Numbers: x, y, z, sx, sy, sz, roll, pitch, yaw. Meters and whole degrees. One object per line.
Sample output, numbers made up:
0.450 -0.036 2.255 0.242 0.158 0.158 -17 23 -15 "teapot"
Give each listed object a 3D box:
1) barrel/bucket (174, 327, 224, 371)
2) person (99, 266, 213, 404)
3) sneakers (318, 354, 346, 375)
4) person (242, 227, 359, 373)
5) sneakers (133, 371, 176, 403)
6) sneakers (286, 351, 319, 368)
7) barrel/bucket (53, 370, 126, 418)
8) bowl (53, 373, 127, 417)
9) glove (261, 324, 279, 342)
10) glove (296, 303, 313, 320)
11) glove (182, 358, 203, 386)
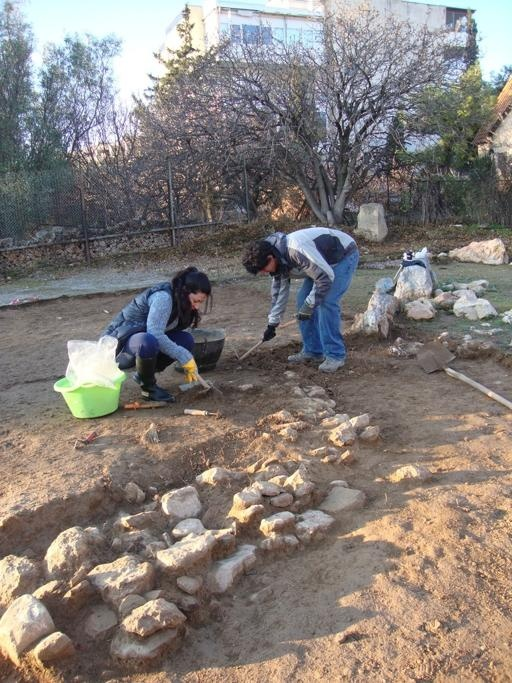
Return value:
-0.451 0.042 4.222 0.343 0.330 0.404 16 16 32 "barrel/bucket"
-0.687 -0.054 3.675 0.768 0.839 0.645 5 5 22 "person"
0.596 0.191 4.253 0.238 0.087 0.091 2 -28 -47 "sneakers"
0.368 -0.307 4.119 0.729 1.120 0.928 -3 8 19 "person"
-0.665 0.317 3.750 0.374 0.236 0.131 4 12 13 "sneakers"
0.393 0.148 4.494 0.280 0.117 0.105 7 -3 -6 "sneakers"
-1.061 0.333 3.514 0.459 0.210 0.447 -5 11 1 "barrel/bucket"
-1.019 0.357 3.442 0.354 0.169 0.339 -1 12 0 "bowl"
0.106 -0.070 4.311 0.050 0.129 0.128 28 22 -9 "glove"
0.375 -0.225 4.074 0.098 0.128 0.049 27 57 5 "glove"
-0.433 0.207 3.673 0.101 0.228 0.416 -7 7 -7 "glove"
